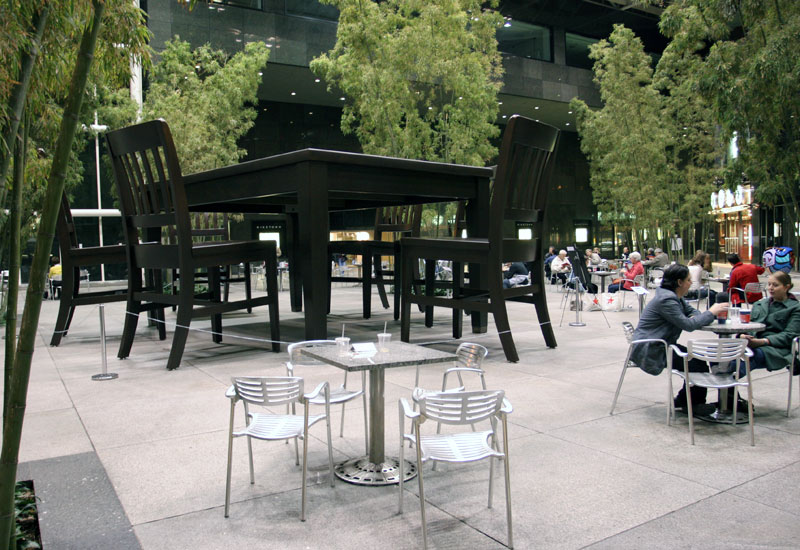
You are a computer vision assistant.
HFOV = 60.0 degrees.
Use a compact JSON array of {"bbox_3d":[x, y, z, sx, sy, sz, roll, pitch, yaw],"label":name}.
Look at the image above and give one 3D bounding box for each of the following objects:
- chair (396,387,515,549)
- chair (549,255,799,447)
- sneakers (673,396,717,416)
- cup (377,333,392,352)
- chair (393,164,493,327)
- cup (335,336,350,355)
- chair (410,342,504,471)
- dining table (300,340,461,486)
[{"bbox_3d":[0.341,1.173,4.805,0.875,1.255,0.901,-1,7,-6],"label":"chair"},{"bbox_3d":[2.876,0.574,6.412,1.760,1.375,0.910,-3,1,-19],"label":"chair"},{"bbox_3d":[2.621,1.173,6.260,0.436,0.196,0.151,-2,-1,14],"label":"sneakers"},{"bbox_3d":[-0.100,0.500,5.224,0.114,0.120,0.117,0,2,0],"label":"cup"},{"bbox_3d":[0.628,-0.306,8.290,1.226,2.078,1.276,-3,12,5],"label":"chair"},{"bbox_3d":[-0.430,0.529,5.181,0.107,0.118,0.109,0,3,0],"label":"cup"},{"bbox_3d":[0.423,1.039,5.473,0.741,0.909,0.777,-1,11,20],"label":"chair"},{"bbox_3d":[-0.188,1.034,5.064,1.090,0.829,1.132,-2,-3,-5],"label":"dining table"}]
